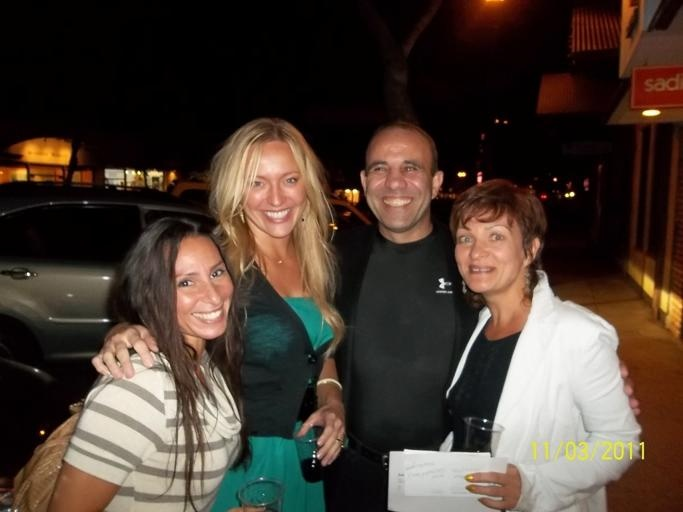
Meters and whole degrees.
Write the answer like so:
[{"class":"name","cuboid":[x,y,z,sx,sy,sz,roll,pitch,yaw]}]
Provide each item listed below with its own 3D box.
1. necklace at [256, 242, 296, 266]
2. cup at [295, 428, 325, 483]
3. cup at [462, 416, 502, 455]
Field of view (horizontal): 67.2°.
[{"class":"necklace","cuboid":[-0.498,-0.017,3.895,0.249,0.131,0.152,-7,2,26]},{"class":"cup","cuboid":[-0.184,1.268,3.293,0.115,0.362,0.193,12,23,37]},{"class":"cup","cuboid":[0.804,1.029,2.934,0.204,0.214,0.212,4,-12,1]}]
